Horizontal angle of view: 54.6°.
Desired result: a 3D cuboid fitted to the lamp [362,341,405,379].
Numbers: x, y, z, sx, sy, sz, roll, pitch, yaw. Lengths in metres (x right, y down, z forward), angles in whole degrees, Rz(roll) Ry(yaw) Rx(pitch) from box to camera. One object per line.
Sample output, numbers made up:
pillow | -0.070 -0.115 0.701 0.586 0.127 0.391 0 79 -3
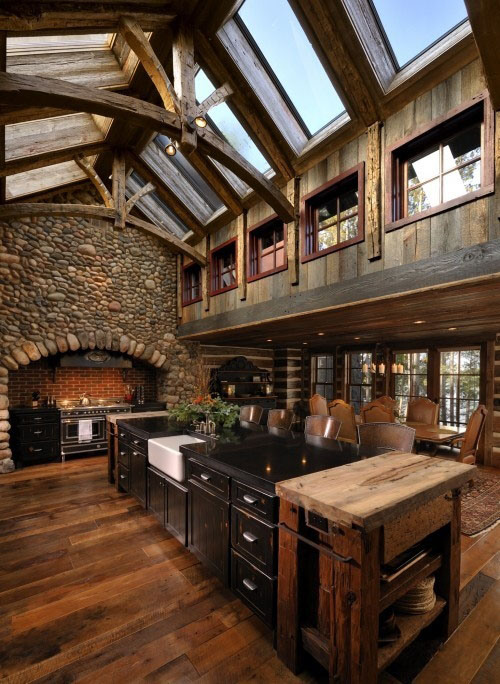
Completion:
lamp | 2.199 0.327 8.040 0.497 0.439 0.510 0 -5 12

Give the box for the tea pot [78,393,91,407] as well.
tea pot | -2.424 0.832 7.059 0.171 0.178 0.113 5 -7 -41

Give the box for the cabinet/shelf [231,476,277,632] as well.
cabinet/shelf | 0.012 1.103 2.634 0.114 0.675 0.450 -6 9 -29
